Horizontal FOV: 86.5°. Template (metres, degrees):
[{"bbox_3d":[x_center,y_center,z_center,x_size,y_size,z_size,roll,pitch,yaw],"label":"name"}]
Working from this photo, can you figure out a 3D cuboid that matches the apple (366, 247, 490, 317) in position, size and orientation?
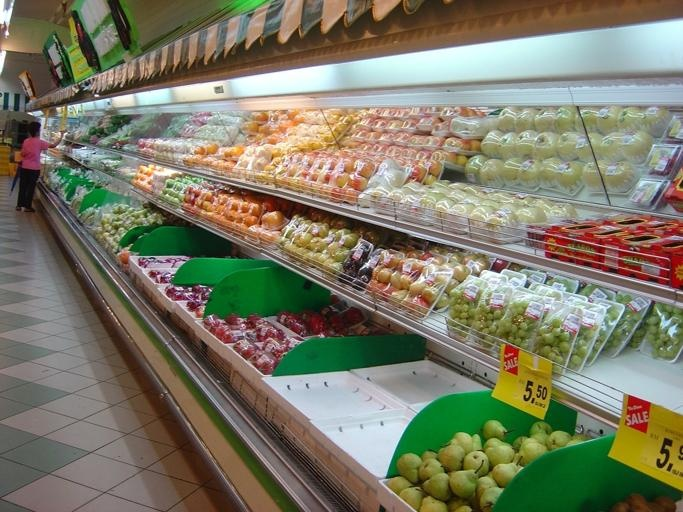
[{"bbox_3d":[0.380,0.058,1.711,0.440,0.270,0.501,-8,13,-34],"label":"apple"}]

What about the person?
[{"bbox_3d":[-7.834,-2.209,9.563,1.250,2.524,1.250,-12,19,-39],"label":"person"}]
